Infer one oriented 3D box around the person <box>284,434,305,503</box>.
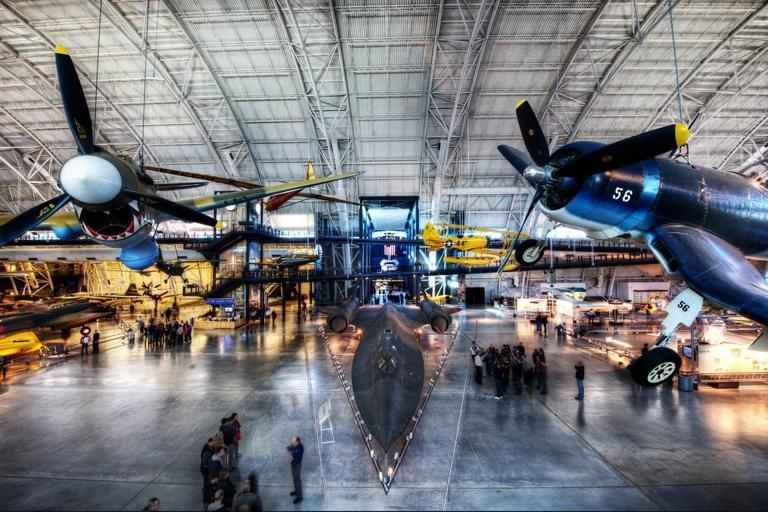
[{"bbox_3d":[-3.514,8.275,20.810,0.584,2.523,0.997,-1,-2,-11],"label":"person"}]
